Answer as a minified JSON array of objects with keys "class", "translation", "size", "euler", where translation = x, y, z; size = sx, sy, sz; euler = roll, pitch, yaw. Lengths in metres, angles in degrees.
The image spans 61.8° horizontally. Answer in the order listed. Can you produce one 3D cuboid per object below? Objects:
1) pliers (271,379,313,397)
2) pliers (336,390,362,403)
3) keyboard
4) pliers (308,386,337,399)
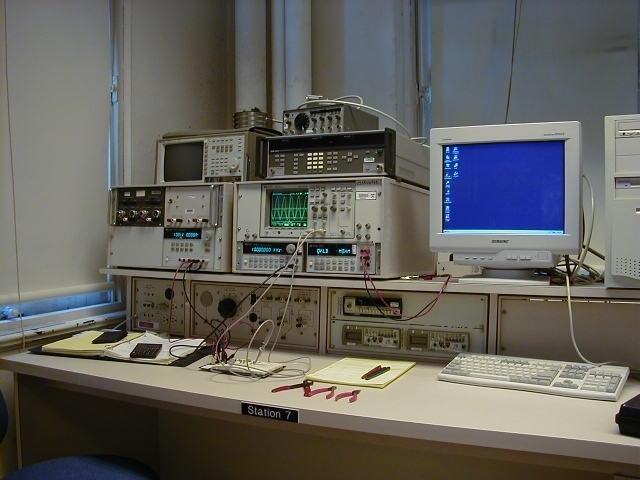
[{"class":"pliers","translation":[-0.101,0.533,1.972],"size":[0.153,0.019,0.105],"euler":[-1,7,-1]},{"class":"pliers","translation":[0.096,0.545,1.891],"size":[0.080,0.014,0.110],"euler":[1,7,15]},{"class":"keyboard","translation":[0.784,0.501,1.983],"size":[0.663,0.065,0.195],"euler":[2,7,18]},{"class":"pliers","translation":[0.011,0.541,1.920],"size":[0.090,0.016,0.107],"euler":[2,7,15]}]
